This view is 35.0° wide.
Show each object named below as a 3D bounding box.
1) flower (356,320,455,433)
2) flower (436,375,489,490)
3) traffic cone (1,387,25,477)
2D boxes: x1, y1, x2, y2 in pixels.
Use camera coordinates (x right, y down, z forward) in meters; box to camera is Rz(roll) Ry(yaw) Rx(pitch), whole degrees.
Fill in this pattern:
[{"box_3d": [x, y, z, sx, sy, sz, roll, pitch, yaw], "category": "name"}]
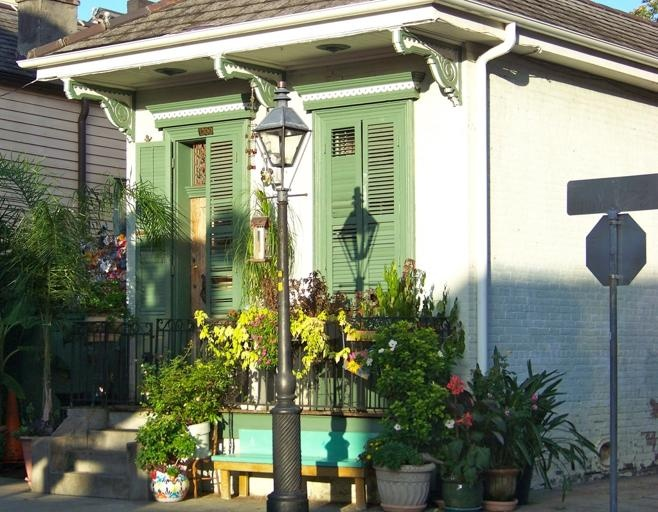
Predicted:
[{"box_3d": [1.221, 1.583, 12.703, 0.666, 1.031, 0.921, 9, 3, 15], "category": "flower"}, {"box_3d": [1.616, 2.081, 12.389, 0.574, 1.259, 0.436, 0, -4, 5], "category": "flower"}, {"box_3d": [-4.744, 2.618, 15.747, 0.296, 1.140, 0.615, 1, -4, -18], "category": "traffic cone"}]
